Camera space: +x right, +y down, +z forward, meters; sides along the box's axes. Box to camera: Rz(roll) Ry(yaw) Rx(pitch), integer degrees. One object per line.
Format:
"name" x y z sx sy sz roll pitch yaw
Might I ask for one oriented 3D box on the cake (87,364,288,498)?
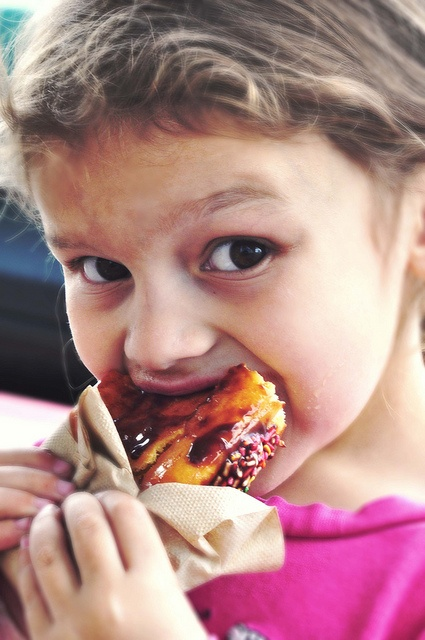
"cake" -0.034 0.152 1.111 0.268 0.147 0.291 -13 40 -17
